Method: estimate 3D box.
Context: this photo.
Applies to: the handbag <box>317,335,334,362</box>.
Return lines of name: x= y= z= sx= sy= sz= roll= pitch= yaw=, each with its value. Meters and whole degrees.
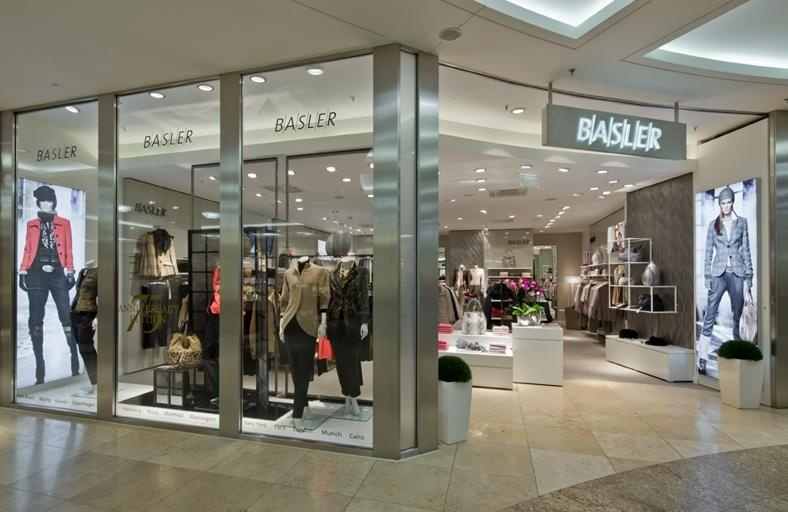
handbag: x=-0.841 y=1.118 z=6.290 sx=0.245 sy=0.441 sz=0.339 roll=-1 pitch=-2 yaw=-6

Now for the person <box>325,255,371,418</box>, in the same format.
person: x=-0.564 y=0.945 z=5.970 sx=0.506 sy=1.750 sz=0.411 roll=4 pitch=13 yaw=15

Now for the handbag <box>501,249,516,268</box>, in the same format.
handbag: x=3.460 y=0.085 z=15.300 sx=0.570 sy=0.797 sz=0.270 roll=0 pitch=0 yaw=18

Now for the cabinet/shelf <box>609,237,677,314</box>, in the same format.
cabinet/shelf: x=4.727 y=0.357 z=9.539 sx=0.447 sy=1.301 sz=1.498 roll=1 pitch=-6 yaw=-1

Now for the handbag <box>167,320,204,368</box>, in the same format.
handbag: x=-2.573 y=1.178 z=6.649 sx=0.540 sy=0.533 sz=0.384 roll=-1 pitch=-3 yaw=13

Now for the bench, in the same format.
bench: x=4.569 y=1.839 z=9.120 sx=0.491 sy=0.767 sz=1.578 roll=-4 pitch=13 yaw=-17

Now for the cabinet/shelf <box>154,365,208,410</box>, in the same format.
cabinet/shelf: x=-2.693 y=1.678 z=6.710 sx=0.709 sy=0.488 sz=0.706 roll=-1 pitch=-12 yaw=-43

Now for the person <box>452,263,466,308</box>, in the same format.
person: x=1.957 y=0.953 z=15.330 sx=0.429 sy=1.405 sz=0.368 roll=5 pitch=2 yaw=4

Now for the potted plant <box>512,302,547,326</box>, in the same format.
potted plant: x=2.315 y=1.011 z=8.717 sx=0.493 sy=0.239 sz=0.366 roll=-6 pitch=-10 yaw=35

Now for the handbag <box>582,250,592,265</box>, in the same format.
handbag: x=5.789 y=0.024 z=15.235 sx=0.341 sy=0.111 sz=0.522 roll=-33 pitch=17 yaw=40

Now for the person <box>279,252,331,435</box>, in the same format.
person: x=-1.071 y=1.027 z=6.153 sx=0.536 sy=1.993 sz=0.481 roll=-7 pitch=14 yaw=-31

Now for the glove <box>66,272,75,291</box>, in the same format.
glove: x=-4.406 y=0.329 z=6.836 sx=0.158 sy=0.213 sz=0.072 roll=3 pitch=1 yaw=5

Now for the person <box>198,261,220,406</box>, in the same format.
person: x=-2.303 y=0.987 z=6.346 sx=0.249 sy=1.658 sz=0.449 roll=-2 pitch=12 yaw=-9

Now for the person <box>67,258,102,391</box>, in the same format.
person: x=-4.102 y=0.907 z=6.795 sx=0.343 sy=1.607 sz=0.540 roll=-10 pitch=16 yaw=-40

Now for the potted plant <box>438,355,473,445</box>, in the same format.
potted plant: x=0.715 y=1.741 z=6.161 sx=0.390 sy=0.959 sz=0.407 roll=1 pitch=12 yaw=4

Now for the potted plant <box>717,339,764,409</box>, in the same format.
potted plant: x=4.965 y=1.675 z=7.254 sx=0.460 sy=0.900 sz=0.467 roll=0 pitch=12 yaw=-3

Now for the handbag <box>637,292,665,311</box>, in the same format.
handbag: x=4.663 y=0.812 z=9.176 sx=0.423 sy=0.311 sz=0.492 roll=7 pitch=14 yaw=28
